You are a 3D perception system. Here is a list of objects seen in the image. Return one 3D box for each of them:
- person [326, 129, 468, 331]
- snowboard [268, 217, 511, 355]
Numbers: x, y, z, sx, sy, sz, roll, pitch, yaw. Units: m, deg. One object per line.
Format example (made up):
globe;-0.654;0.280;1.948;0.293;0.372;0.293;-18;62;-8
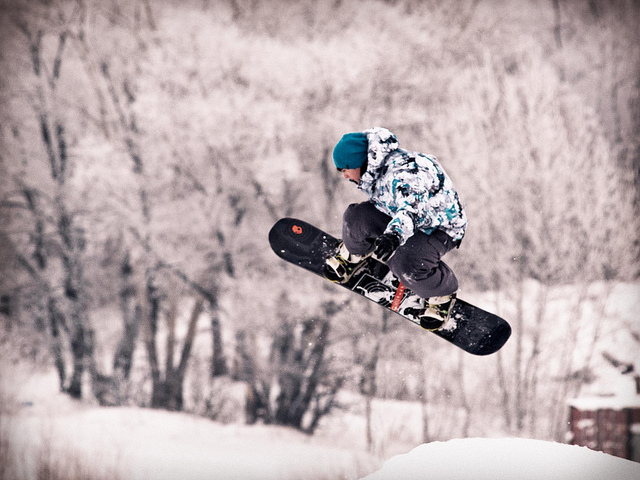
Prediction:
person;0.855;-0.010;10.700;0.973;1.412;1.585;-32;53;-13
snowboard;0.788;0.534;11.184;3.077;0.311;0.524;26;85;6
